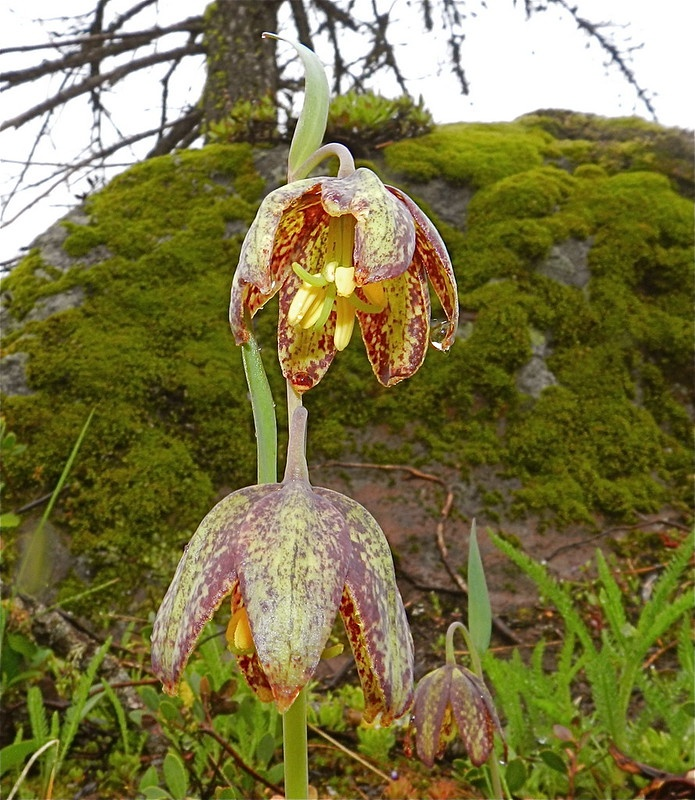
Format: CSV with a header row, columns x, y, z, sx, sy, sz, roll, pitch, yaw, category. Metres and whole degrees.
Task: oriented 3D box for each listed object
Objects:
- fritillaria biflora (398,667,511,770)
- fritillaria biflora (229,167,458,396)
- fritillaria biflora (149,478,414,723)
x,y,z,sx,sy,sz,roll,pitch,yaw,category
0.195,0.549,1.752,0.148,0.164,0.158,-6,-2,-45,fritillaria biflora
0.004,-0.224,1.554,0.303,0.277,0.324,-13,-15,38,fritillaria biflora
-0.124,0.338,1.596,0.384,0.381,0.382,16,-27,-23,fritillaria biflora
